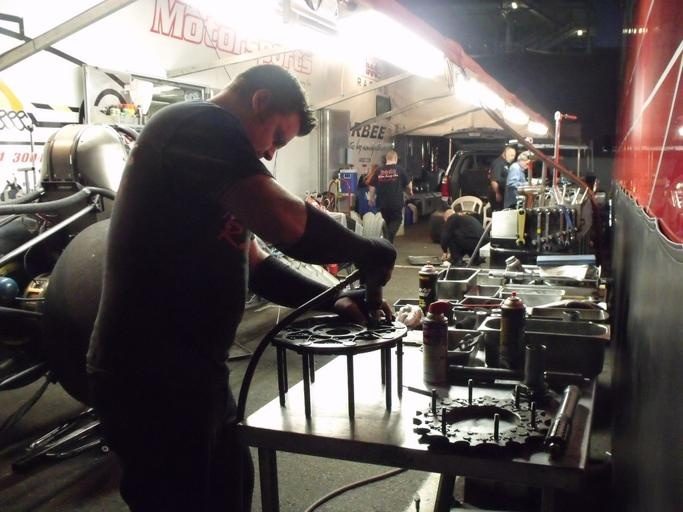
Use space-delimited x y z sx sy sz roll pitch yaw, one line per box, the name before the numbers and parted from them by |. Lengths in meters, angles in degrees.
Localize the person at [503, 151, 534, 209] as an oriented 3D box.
person | 2.459 -1.066 8.321 0.345 0.517 1.153 2 -20 14
